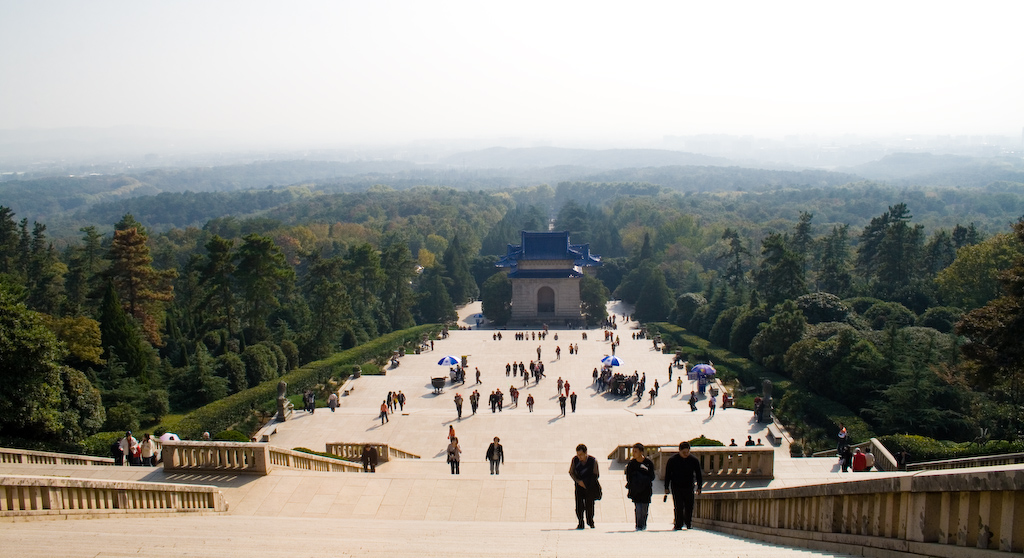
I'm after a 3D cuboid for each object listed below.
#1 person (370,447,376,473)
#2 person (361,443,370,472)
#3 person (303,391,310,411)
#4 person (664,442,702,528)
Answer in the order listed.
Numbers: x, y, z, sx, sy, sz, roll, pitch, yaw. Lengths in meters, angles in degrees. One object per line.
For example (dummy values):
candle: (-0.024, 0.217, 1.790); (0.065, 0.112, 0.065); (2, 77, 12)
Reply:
person: (-7.019, 9.134, 40.856); (0.250, 1.203, 0.467); (1, 5, 14)
person: (-7.420, 9.125, 41.033); (0.329, 1.284, 0.917); (-1, 5, -9)
person: (-13.775, 8.246, 54.316); (0.357, 1.209, 0.799); (-1, 5, -10)
person: (6.716, 8.118, 31.515); (1.266, 3.483, 0.878); (0, 5, 3)
